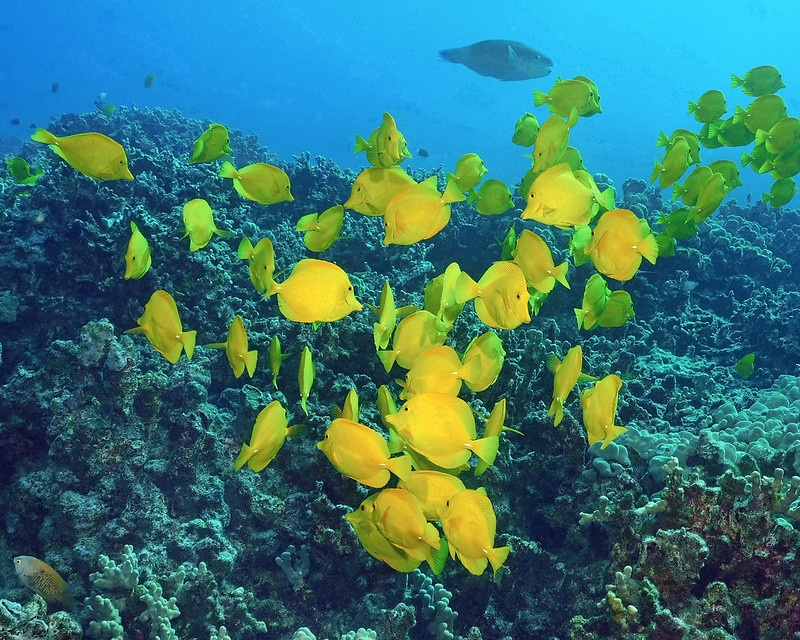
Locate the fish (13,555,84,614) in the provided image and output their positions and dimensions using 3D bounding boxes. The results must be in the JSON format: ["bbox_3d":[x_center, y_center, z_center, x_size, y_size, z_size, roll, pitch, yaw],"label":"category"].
[{"bbox_3d":[-4.412,3.331,11.572,1.017,0.453,0.234,43,-13,-18],"label":"fish"}]
